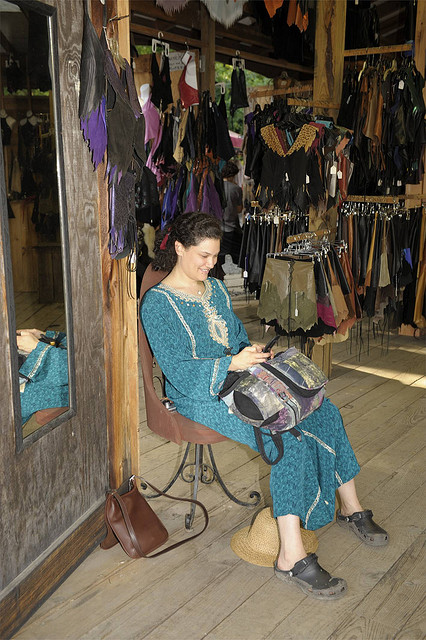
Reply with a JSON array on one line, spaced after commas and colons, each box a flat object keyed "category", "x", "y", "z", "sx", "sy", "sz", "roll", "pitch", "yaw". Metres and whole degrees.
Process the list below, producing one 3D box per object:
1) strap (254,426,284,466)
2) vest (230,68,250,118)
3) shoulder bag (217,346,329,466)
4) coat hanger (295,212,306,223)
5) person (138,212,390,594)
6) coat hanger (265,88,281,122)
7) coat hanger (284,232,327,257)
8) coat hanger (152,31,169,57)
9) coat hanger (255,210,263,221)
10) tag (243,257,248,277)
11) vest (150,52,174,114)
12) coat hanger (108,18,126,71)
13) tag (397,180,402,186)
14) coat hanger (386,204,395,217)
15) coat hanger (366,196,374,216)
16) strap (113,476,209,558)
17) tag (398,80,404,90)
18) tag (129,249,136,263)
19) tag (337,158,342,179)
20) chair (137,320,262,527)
[{"category": "strap", "x": 0.198, "y": 0.435, "z": 1.575, "sx": 0.030, "sy": 0.147, "sz": 0.076, "roll": -16, "pitch": 14, "yaw": -43}, {"category": "vest", "x": 0.233, "y": -2.108, "z": 4.249, "sx": 0.163, "sy": 0.529, "sz": 0.055, "roll": -4, "pitch": -2, "yaw": 4}, {"category": "shoulder bag", "x": 0.217, "y": 0.226, "z": 1.650, "sx": 0.313, "sy": 0.371, "sz": 0.367, "roll": 13, "pitch": 11, "yaw": 25}, {"category": "coat hanger", "x": 0.693, "y": -0.811, "z": 3.746, "sx": 0.047, "sy": 0.052, "sz": 0.230, "roll": 9, "pitch": 30, "yaw": 17}, {"category": "person", "x": 0.183, "y": 0.242, "z": 1.767, "sx": 0.899, "sy": 1.143, "sz": 0.501, "roll": 18, "pitch": 30, "yaw": 38}, {"category": "coat hanger", "x": 0.478, "y": -1.697, "z": 3.812, "sx": 0.115, "sy": 0.241, "sz": 0.259, "roll": 0, "pitch": 4, "yaw": 8}, {"category": "coat hanger", "x": 0.610, "y": -0.482, "z": 3.069, "sx": 0.190, "sy": 0.135, "sz": 0.201, "roll": -4, "pitch": 11, "yaw": -20}, {"category": "coat hanger", "x": -0.446, "y": -2.341, "z": 4.042, "sx": 0.145, "sy": 0.168, "sz": 0.203, "roll": -1, "pitch": 4, "yaw": -7}, {"category": "coat hanger", "x": 0.379, "y": -0.849, "z": 3.848, "sx": 0.042, "sy": 0.027, "sz": 0.114, "roll": 4, "pitch": -12, "yaw": -3}, {"category": "tag", "x": 0.276, "y": -0.442, "z": 4.003, "sx": 0.036, "sy": 0.163, "sz": 0.105, "roll": 0, "pitch": 4, "yaw": 1}, {"category": "vest", "x": -0.439, "y": -2.046, "z": 4.106, "sx": 0.233, "sy": 0.483, "sz": 0.136, "roll": -2, "pitch": 4, "yaw": -25}, {"category": "coat hanger", "x": -0.305, "y": -0.847, "z": 1.513, "sx": 0.031, "sy": 0.096, "sz": 0.062, "roll": 2, "pitch": 4, "yaw": 28}, {"category": "tag", "x": 1.801, "y": -1.311, "z": 4.557, "sx": 0.044, "sy": 0.055, "sz": 0.047, "roll": 3, "pitch": 21, "yaw": 2}, {"category": "coat hanger", "x": 1.502, "y": -0.927, "z": 4.017, "sx": 0.033, "sy": 0.110, "sz": 0.193, "roll": 2, "pitch": 5, "yaw": 32}, {"category": "coat hanger", "x": 1.304, "y": -0.940, "z": 3.932, "sx": 0.032, "sy": 0.188, "sz": 0.174, "roll": 3, "pitch": 0, "yaw": 8}, {"category": "strap", "x": -0.206, "y": 0.778, "z": 1.852, "sx": 0.327, "sy": 0.182, "sz": 0.406, "roll": 1, "pitch": 15, "yaw": -43}, {"category": "tag", "x": 1.543, "y": -1.926, "z": 3.889, "sx": 0.034, "sy": 0.067, "sz": 0.017, "roll": 1, "pitch": 4, "yaw": 23}, {"category": "tag", "x": -0.296, "y": -0.227, "z": 1.752, "sx": 0.023, "sy": 0.047, "sz": 0.030, "roll": -2, "pitch": 8, "yaw": -4}, {"category": "tag", "x": 0.877, "y": -1.028, "z": 3.288, "sx": 0.026, "sy": 0.096, "sz": 0.051, "roll": 1, "pitch": 4, "yaw": 21}, {"category": "chair", "x": -0.105, "y": 0.392, "z": 2.027, "sx": 0.446, "sy": 0.796, "sz": 0.468, "roll": -7, "pitch": 6, "yaw": 6}]
